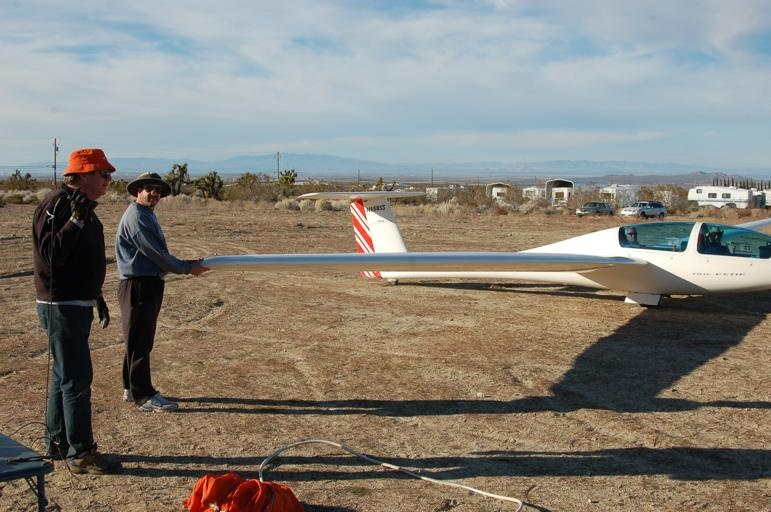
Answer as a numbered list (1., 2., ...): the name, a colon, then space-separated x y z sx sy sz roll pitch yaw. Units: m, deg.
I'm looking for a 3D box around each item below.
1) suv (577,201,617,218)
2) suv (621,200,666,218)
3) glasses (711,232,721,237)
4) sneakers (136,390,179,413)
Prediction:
1. suv: 13.440 -3.046 41.569 3.198 0.644 1.198 0 1 -32
2. suv: 17.294 -3.111 42.692 3.990 0.856 1.443 0 2 -20
3. glasses: 6.351 -0.416 12.352 0.174 0.098 0.038 8 -6 19
4. sneakers: -2.991 1.927 8.422 0.690 0.193 0.191 1 3 -5
